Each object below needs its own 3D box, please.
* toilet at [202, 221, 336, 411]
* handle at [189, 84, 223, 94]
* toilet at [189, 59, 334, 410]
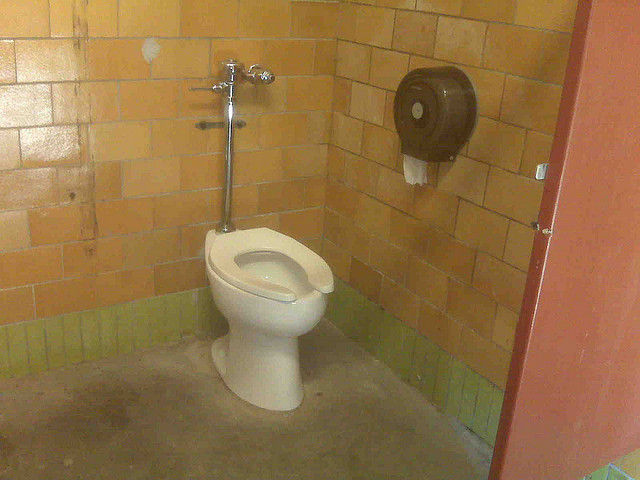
[{"bbox_3d":[-0.268,0.284,2.587,0.504,0.592,0.829,-9,26,-30],"label":"toilet"},{"bbox_3d":[-0.518,-0.681,2.394,0.121,0.039,0.033,-1,48,7],"label":"handle"},{"bbox_3d":[-0.258,-0.024,2.357,0.489,1.384,0.712,-10,27,-25],"label":"toilet"}]
